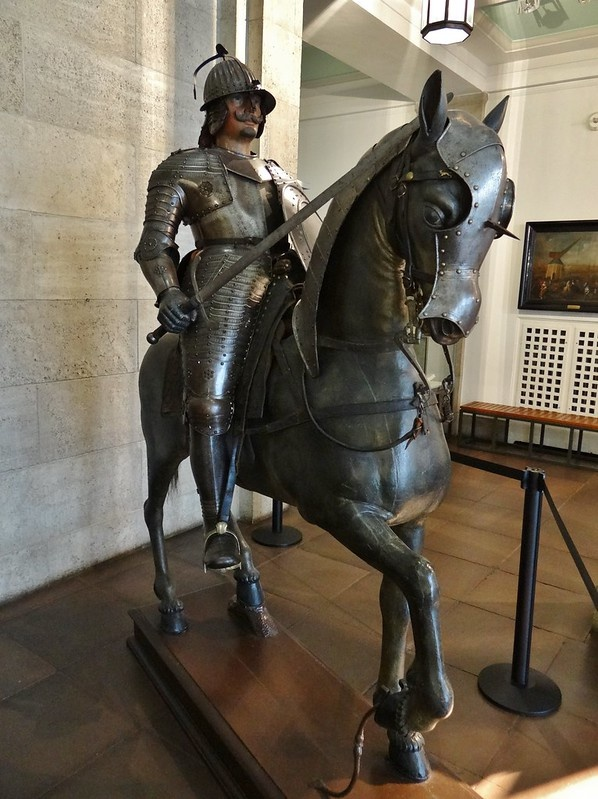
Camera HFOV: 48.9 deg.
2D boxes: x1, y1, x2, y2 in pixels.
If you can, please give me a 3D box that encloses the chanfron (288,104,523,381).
[{"bbox_3d":[0.158,-0.417,1.751,0.592,0.536,0.134,18,19,10],"label":"chanfron"}]
